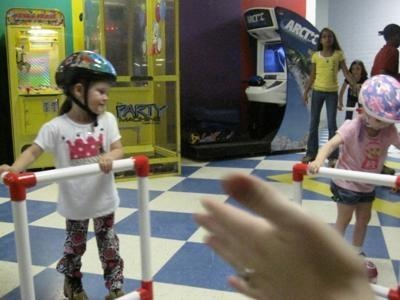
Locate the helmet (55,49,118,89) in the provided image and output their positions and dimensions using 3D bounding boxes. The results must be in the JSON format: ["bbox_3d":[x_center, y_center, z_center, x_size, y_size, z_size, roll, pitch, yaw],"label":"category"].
[{"bbox_3d":[-0.557,-0.381,1.535,0.302,0.192,0.227,5,10,4],"label":"helmet"}]
